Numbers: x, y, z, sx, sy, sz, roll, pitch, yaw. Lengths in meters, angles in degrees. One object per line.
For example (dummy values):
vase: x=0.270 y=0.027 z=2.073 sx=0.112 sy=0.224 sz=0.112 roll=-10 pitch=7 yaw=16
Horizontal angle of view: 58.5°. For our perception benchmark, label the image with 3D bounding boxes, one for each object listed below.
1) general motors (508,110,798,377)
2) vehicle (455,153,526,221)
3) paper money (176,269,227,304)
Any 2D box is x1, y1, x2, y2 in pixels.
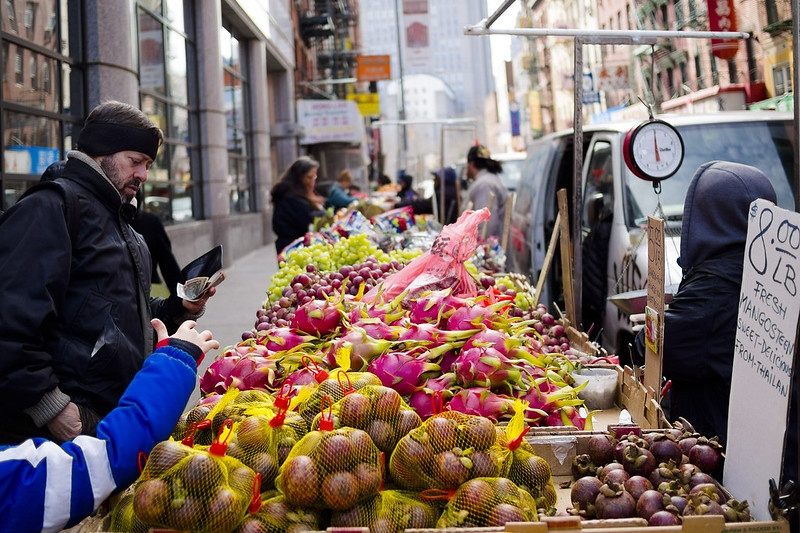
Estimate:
general motors: x=2.411 y=-0.552 z=7.751 sx=1.643 sy=1.588 sz=3.013 roll=1 pitch=-3 yaw=-11
vehicle: x=2.152 y=-2.085 z=16.215 sx=1.148 sy=1.169 sz=2.255 roll=-3 pitch=24 yaw=-6
paper money: x=-1.204 y=0.124 z=4.354 sx=0.234 sy=0.096 sz=0.201 roll=-40 pitch=16 yaw=-25
